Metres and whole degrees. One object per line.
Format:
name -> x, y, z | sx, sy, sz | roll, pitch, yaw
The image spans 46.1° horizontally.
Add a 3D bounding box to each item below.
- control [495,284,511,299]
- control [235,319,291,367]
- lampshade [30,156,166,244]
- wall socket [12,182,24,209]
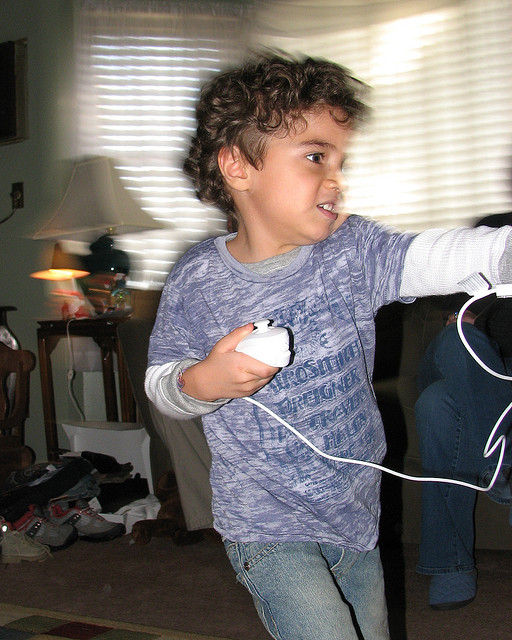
control -> 0.228, -0.027, 0.552 | 0.015, 0.012, 0.003 | 2, -2, 2
control -> 0.006, 0.022, 0.613 | 0.067, 0.041, 0.046 | 0, 7, 22
lampshade -> -0.625, -0.436, 2.450 | 0.562, 0.285, 0.391 | -9, -8, 39
wall socket -> -1.161, -0.607, 2.930 | 0.071, 0.133, 0.017 | -5, -3, 23
